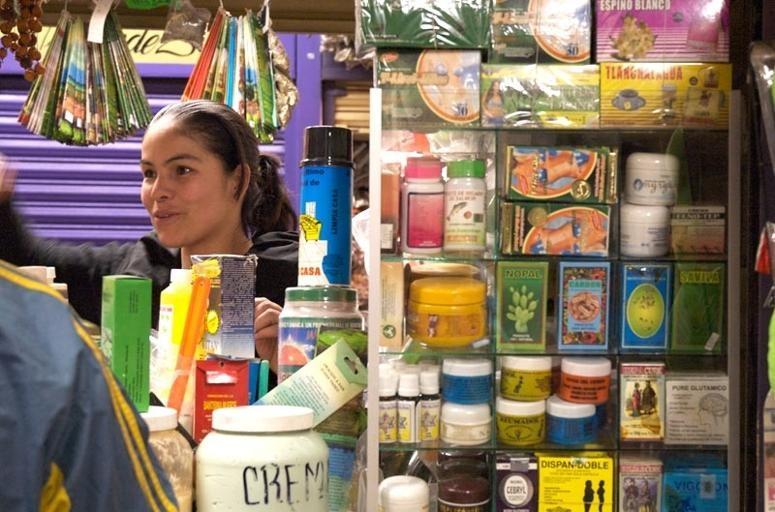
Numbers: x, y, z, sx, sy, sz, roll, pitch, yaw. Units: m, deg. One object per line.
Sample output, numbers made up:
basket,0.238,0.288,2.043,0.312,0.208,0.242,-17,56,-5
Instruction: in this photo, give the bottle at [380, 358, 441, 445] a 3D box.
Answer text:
bottle,0.045,0.314,1.831,0.169,0.180,0.169,0,-1,-5

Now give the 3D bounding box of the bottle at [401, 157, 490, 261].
bottle,0.125,-0.114,1.853,0.195,0.236,0.039,-4,5,0
